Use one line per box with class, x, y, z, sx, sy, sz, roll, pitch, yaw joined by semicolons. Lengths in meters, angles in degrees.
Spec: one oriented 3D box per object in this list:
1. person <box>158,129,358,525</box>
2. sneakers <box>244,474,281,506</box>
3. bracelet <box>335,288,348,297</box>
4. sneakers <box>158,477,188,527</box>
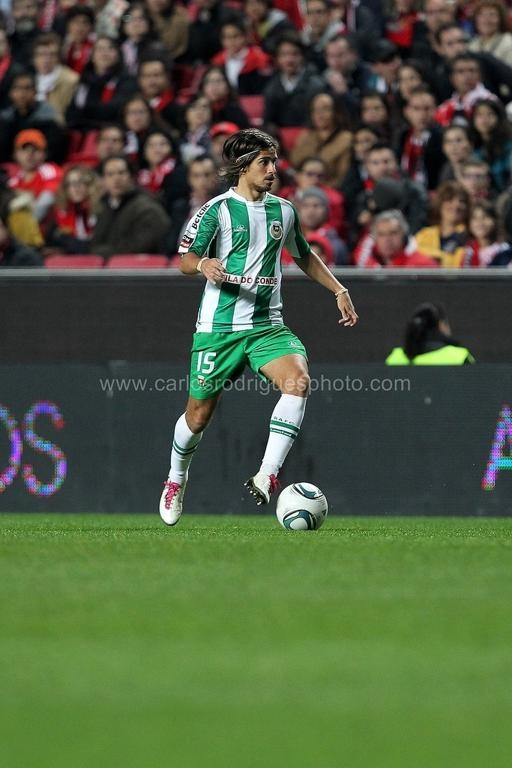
person;-0.032;-0.183;4.502;0.703;1.820;1.200;12;47;12
sneakers;0.026;0.487;4.308;0.106;0.248;0.093;-44;94;-3
bracelet;0.411;-0.450;4.445;0.060;0.063;0.024;-3;79;-24
sneakers;-0.435;0.612;4.822;0.113;0.117;0.272;8;79;-12
